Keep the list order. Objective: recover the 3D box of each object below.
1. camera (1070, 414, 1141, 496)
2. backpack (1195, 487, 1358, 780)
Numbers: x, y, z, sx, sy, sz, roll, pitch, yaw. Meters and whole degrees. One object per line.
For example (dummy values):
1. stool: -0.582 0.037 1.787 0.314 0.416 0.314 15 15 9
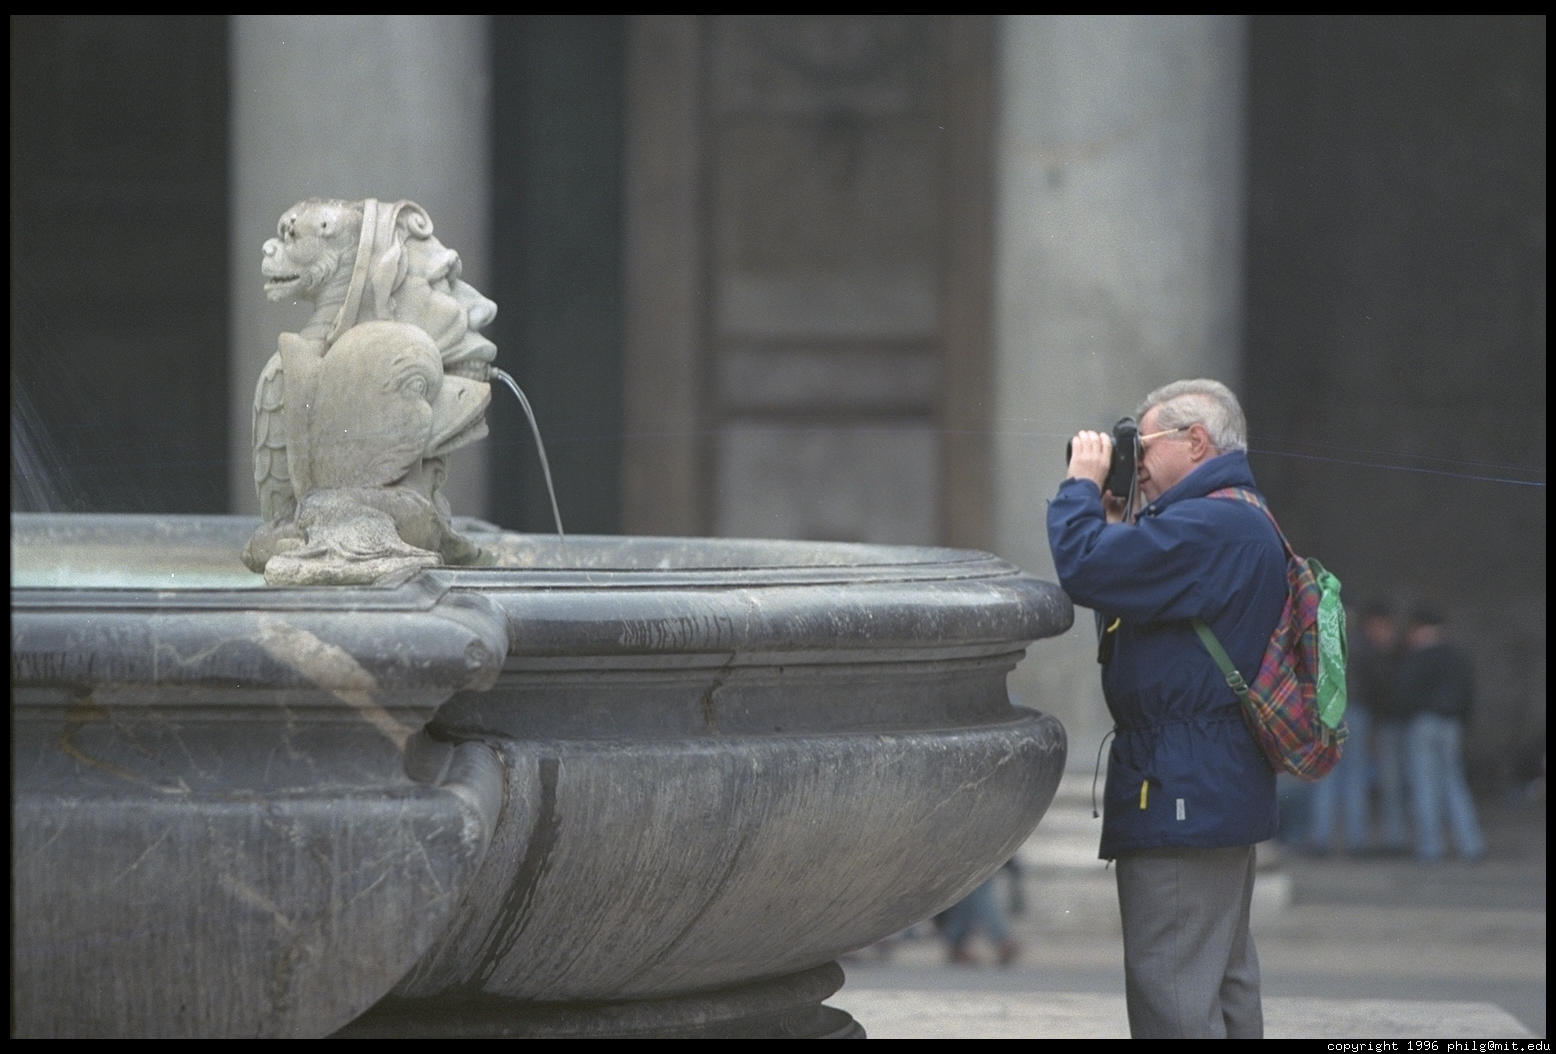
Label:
1. camera: 0.957 -0.205 11.872 0.209 0.201 0.206 4 -3 -4
2. backpack: 1.410 0.385 11.708 0.438 0.617 0.241 6 12 9
